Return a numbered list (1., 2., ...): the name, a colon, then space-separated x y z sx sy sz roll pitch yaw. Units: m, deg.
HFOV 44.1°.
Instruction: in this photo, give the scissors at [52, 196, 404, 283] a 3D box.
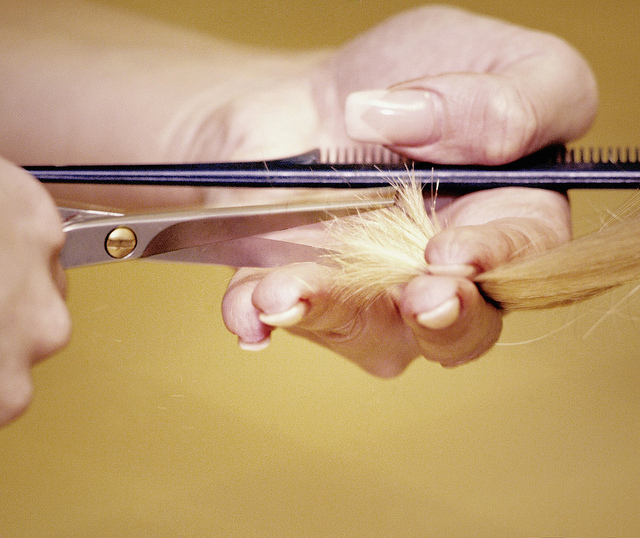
1. scissors: -0.106 -0.039 0.942 0.370 0.100 0.188 1 11 18
